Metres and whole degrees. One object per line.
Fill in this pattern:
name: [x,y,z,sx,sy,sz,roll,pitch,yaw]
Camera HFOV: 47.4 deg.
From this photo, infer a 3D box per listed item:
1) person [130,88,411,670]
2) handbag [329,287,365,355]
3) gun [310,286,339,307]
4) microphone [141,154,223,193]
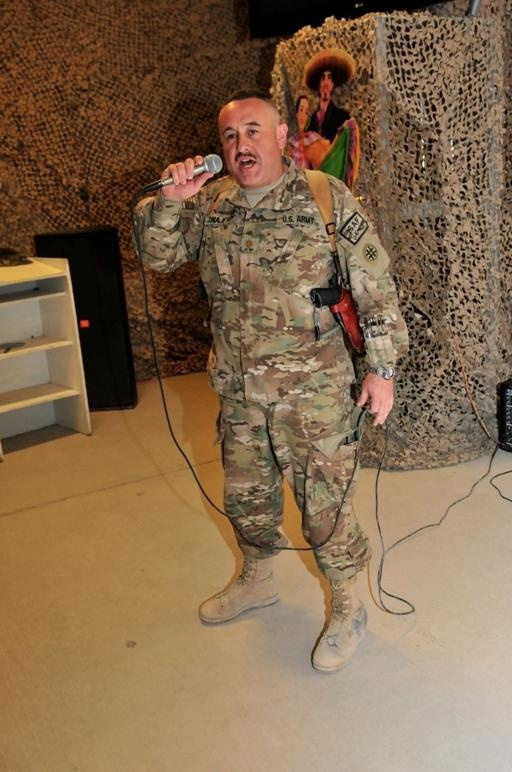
person: [0.077,-0.079,1.731,0.696,1.448,0.392,-10,15,-6]
handbag: [0.255,-0.199,1.626,0.069,0.207,0.039,-14,-23,-10]
gun: [0.186,-0.237,1.533,0.072,0.044,0.033,-12,-3,-34]
microphone: [-0.191,-0.575,1.557,0.204,0.093,0.256,-8,14,0]
